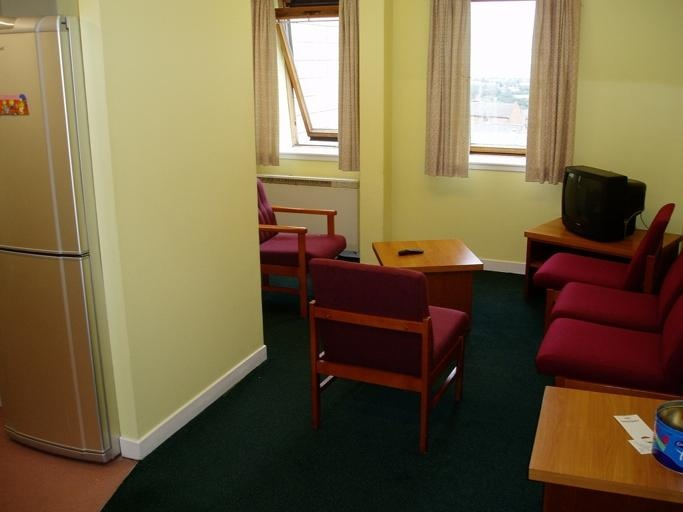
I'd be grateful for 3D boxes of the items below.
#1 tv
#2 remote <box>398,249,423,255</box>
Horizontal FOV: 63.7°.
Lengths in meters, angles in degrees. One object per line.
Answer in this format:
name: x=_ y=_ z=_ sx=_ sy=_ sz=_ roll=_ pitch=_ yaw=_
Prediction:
tv: x=2.266 y=-0.557 z=4.865 sx=0.617 sy=0.674 sz=0.642 roll=-8 pitch=18 yaw=-15
remote: x=0.568 y=-0.032 z=4.529 sx=0.145 sy=0.038 sz=0.079 roll=0 pitch=7 yaw=0
